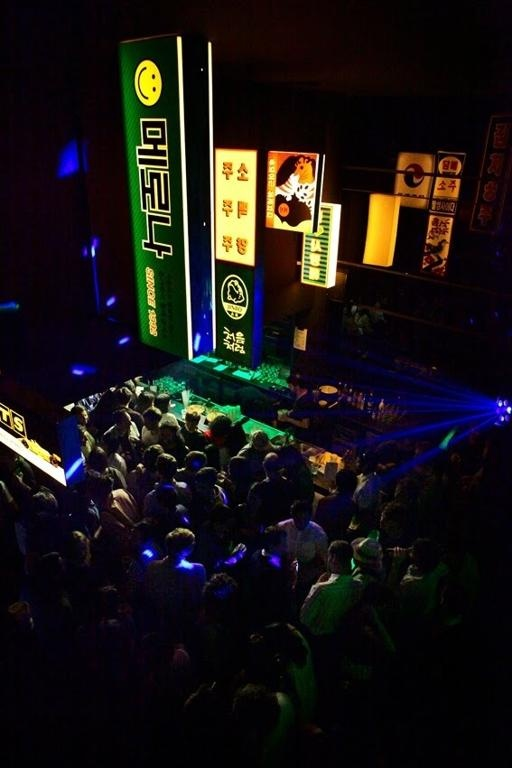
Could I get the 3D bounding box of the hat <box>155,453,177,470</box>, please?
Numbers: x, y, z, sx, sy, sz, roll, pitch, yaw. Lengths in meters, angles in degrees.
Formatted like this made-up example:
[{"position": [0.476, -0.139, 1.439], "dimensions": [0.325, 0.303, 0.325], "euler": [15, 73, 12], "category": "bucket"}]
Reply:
[{"position": [-0.744, 0.625, 4.658], "dimensions": [0.135, 0.156, 0.109], "euler": [-26, -30, 33], "category": "hat"}]
